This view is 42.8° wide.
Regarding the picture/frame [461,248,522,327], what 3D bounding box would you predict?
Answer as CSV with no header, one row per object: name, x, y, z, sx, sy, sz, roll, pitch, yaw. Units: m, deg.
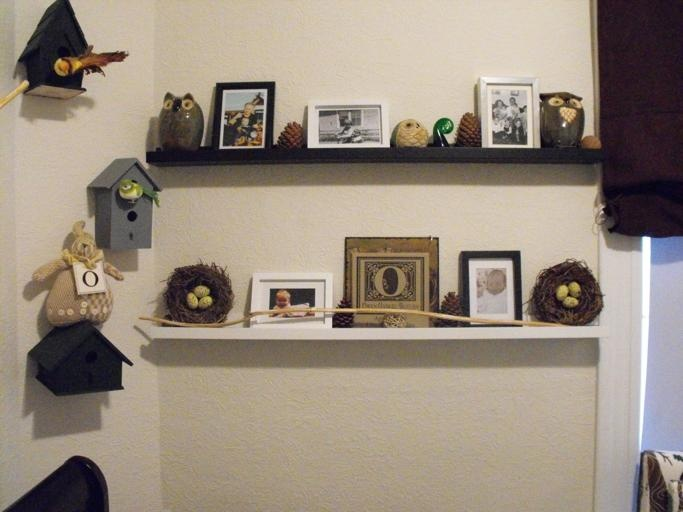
picture/frame,0.596,0.138,3.454,0.270,0.341,0.032,0,-9,-2

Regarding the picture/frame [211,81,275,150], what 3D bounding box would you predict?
picture/frame,-0.389,-0.553,3.464,0.253,0.330,0.026,2,-17,1

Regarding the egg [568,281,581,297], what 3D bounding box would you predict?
egg,0.915,0.131,3.400,0.040,0.055,0.040,-21,-37,11

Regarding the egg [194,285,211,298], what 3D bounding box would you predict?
egg,-0.545,0.140,3.408,0.066,0.050,0.025,3,-6,-31

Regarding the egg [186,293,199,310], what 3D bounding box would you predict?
egg,-0.581,0.175,3.390,0.041,0.060,0.034,-19,-8,-24

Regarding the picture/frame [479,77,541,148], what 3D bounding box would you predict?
picture/frame,0.676,-0.561,3.453,0.252,0.362,0.051,1,-13,-3

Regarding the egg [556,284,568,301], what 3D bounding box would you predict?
egg,0.869,0.146,3.404,0.043,0.062,0.033,26,11,10

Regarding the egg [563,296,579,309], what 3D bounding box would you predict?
egg,0.896,0.182,3.390,0.050,0.039,0.031,11,-11,24

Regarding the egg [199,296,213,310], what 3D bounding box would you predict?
egg,-0.531,0.182,3.403,0.050,0.039,0.029,-38,17,13
